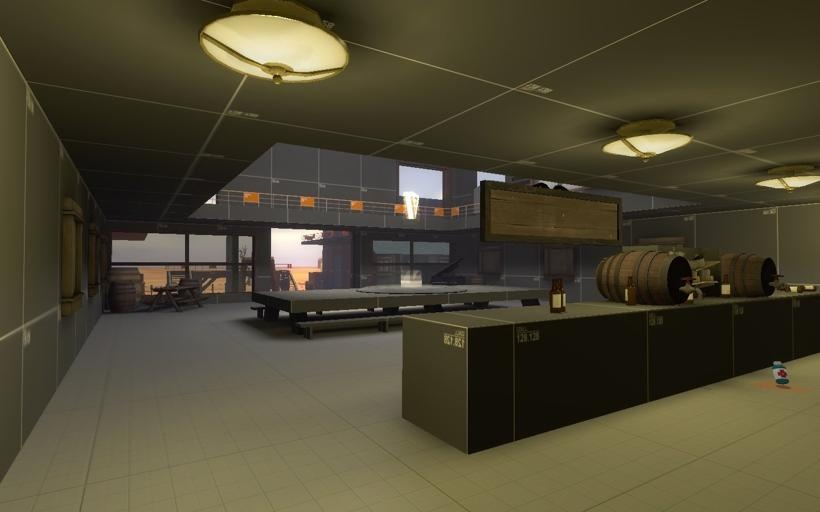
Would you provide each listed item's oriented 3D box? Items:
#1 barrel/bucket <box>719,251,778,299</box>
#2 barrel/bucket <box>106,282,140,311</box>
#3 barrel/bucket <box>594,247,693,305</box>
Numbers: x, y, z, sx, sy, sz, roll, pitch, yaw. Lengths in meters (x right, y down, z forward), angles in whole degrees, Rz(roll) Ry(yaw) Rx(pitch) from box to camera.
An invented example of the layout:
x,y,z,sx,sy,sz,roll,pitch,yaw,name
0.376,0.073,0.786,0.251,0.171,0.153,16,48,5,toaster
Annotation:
x,y,z,sx,sy,sz,roll,pitch,yaw,name
4.715,0.272,6.654,1.140,0.577,0.451,-5,10,-23,barrel/bucket
-7.573,1.066,12.432,0.823,0.769,0.777,0,-2,0,barrel/bucket
2.997,0.292,5.997,0.904,0.745,1.143,7,-10,-40,barrel/bucket
